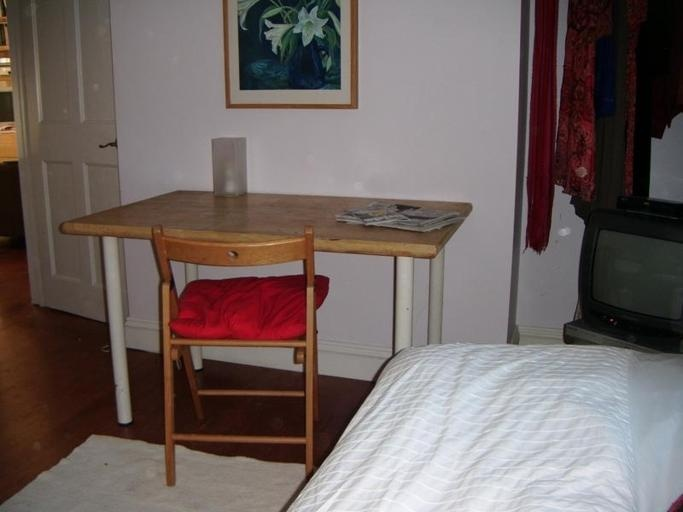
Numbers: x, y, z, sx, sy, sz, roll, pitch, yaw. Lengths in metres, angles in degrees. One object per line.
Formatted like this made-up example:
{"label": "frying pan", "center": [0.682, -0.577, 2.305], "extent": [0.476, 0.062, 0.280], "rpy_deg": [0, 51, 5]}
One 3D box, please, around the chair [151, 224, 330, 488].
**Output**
{"label": "chair", "center": [-0.383, 0.405, 2.194], "extent": [0.616, 1.073, 0.731], "rpy_deg": [1, 31, 1]}
